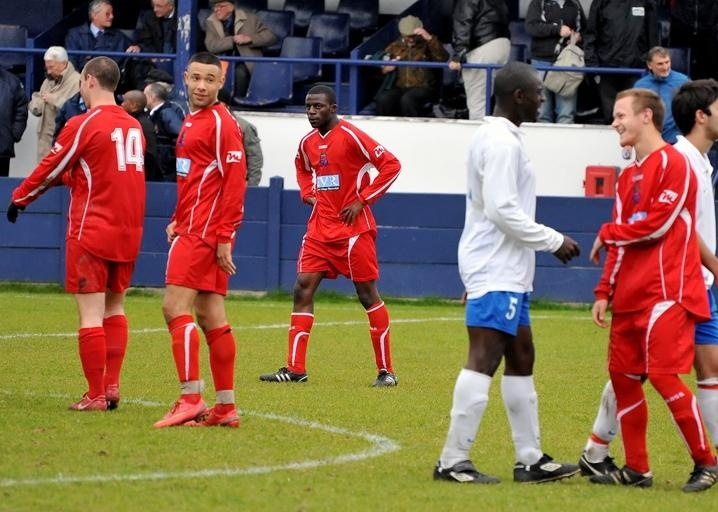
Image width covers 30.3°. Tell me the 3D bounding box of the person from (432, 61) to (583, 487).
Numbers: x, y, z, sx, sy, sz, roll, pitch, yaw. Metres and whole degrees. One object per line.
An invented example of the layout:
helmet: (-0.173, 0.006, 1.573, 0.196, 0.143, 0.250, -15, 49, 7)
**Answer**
person: (1.074, 0.111, 9.812, 0.971, 3.050, 0.567, 2, 6, -4)

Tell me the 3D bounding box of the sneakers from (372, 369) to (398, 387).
sneakers: (0.234, 1.110, 12.057, 0.231, 0.137, 0.236, 2, 6, 2)

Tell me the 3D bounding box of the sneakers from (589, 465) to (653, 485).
sneakers: (1.964, 1.593, 9.903, 0.441, 0.172, 0.163, 6, -4, 12)

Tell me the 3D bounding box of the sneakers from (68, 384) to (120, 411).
sneakers: (-2.171, 1.168, 10.896, 0.422, 0.170, 0.152, -2, -2, 5)

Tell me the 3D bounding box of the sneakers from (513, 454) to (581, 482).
sneakers: (1.394, 1.575, 9.895, 0.504, 0.201, 0.182, -4, -3, 2)

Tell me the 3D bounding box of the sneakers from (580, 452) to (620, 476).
sneakers: (1.811, 1.564, 9.992, 0.332, 0.155, 0.126, 1, -3, 13)

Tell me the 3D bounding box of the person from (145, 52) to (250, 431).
person: (-1.266, -0.143, 10.617, 0.676, 2.916, 0.615, 1, 6, -6)

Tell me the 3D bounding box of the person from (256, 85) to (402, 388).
person: (-0.179, -0.217, 12.384, 1.046, 2.670, 0.860, 2, 6, 2)

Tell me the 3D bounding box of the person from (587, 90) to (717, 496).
person: (2.219, 0.240, 9.842, 0.919, 2.888, 0.536, 3, 6, 10)

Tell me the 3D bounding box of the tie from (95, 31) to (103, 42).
tie: (-3.902, -3.254, 19.738, 0.111, 0.115, 0.031, 36, 4, -7)

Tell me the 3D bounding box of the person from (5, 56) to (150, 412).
person: (-2.270, -0.201, 10.991, 0.928, 2.856, 0.750, 1, 6, -10)

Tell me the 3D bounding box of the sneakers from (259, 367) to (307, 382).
sneakers: (-0.711, 1.104, 12.173, 0.433, 0.158, 0.158, 4, -5, -6)

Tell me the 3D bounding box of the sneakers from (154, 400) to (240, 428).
sneakers: (-1.276, 1.281, 10.554, 0.689, 0.273, 0.245, 4, -15, -6)

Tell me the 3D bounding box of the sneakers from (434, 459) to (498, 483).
sneakers: (0.799, 1.559, 9.783, 0.444, 0.167, 0.177, 1, -5, 4)

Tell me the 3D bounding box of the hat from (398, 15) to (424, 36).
hat: (0.758, -3.356, 19.556, 0.443, 0.239, 0.634, -1, 28, 0)
